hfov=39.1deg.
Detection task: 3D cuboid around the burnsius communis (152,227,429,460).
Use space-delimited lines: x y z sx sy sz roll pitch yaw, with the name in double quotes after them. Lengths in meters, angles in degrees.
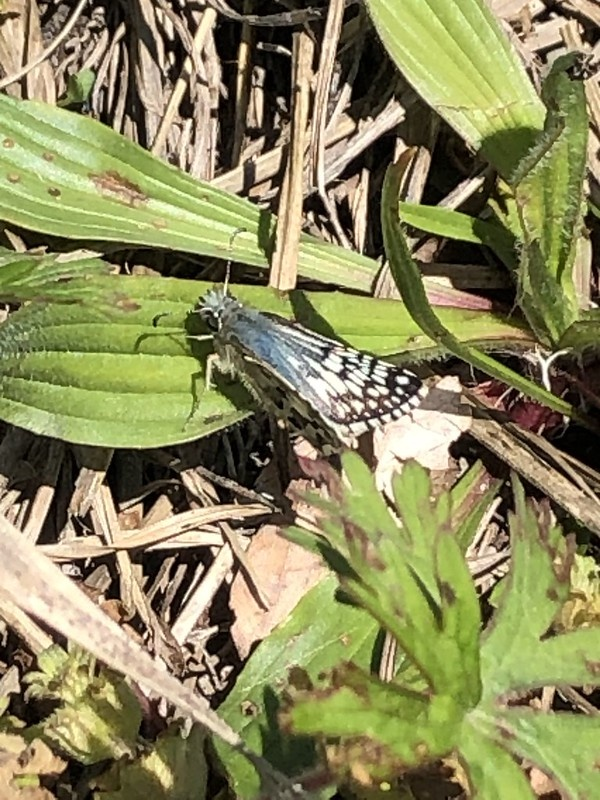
-0.029 -0.048 1.570 0.376 0.196 0.385 39 36 5 "burnsius communis"
